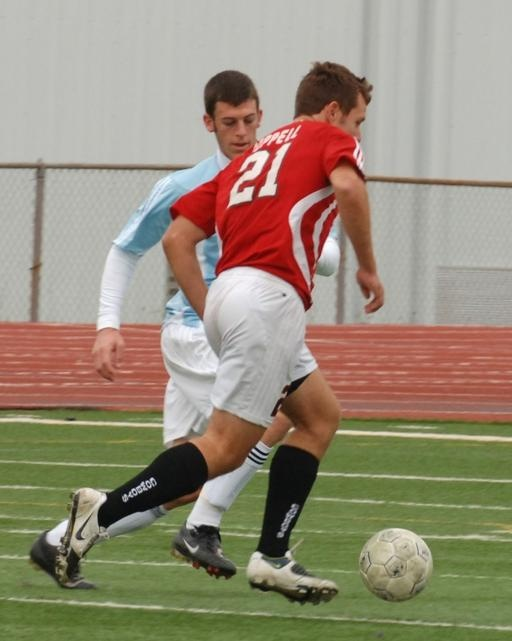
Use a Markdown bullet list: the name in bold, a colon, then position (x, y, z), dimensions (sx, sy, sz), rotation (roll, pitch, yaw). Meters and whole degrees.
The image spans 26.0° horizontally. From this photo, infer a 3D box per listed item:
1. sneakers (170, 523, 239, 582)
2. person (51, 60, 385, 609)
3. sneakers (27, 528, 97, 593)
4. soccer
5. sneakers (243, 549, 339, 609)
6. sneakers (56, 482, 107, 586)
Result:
- **sneakers**: position (-0.133, 0.646, 3.164), dimensions (0.232, 0.120, 0.083), rotation (21, 5, 33)
- **person**: position (-0.059, 0.000, 3.113), dimensions (0.820, 1.296, 0.432), rotation (5, 2, -7)
- **sneakers**: position (-0.535, 0.669, 3.069), dimensions (0.191, 0.064, 0.132), rotation (37, -31, -9)
- **soccer**: position (0.416, 0.695, 3.133), dimensions (0.213, 0.191, 0.196), rotation (-13, -8, -5)
- **sneakers**: position (0.089, 0.697, 3.046), dimensions (0.291, 0.097, 0.140), rotation (16, 40, 10)
- **sneakers**: position (-0.469, 0.574, 3.028), dimensions (0.146, 0.283, 0.106), rotation (13, 9, 3)
